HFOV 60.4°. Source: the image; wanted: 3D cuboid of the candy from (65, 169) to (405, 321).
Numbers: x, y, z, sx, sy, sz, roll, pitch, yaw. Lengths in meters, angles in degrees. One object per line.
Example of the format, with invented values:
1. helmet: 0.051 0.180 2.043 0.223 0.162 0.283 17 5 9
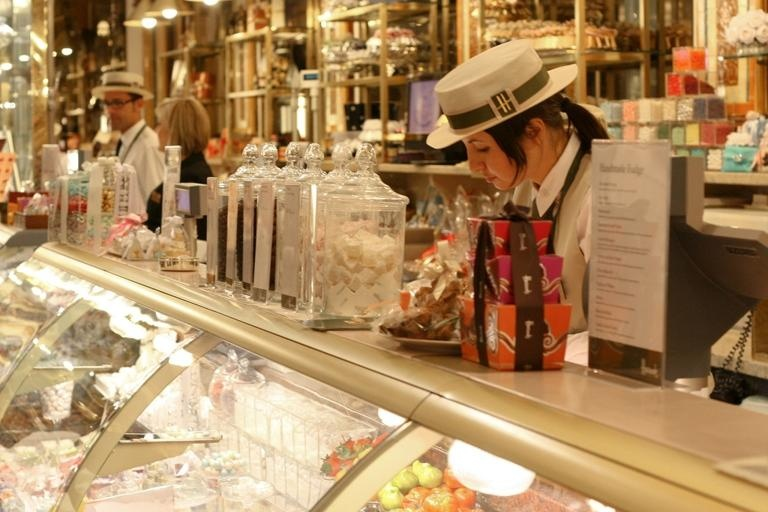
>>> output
1. candy: -0.204 -0.032 1.722 0.458 0.437 0.289 1 4 3

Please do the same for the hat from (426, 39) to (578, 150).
1. hat: 0.343 -0.371 1.793 0.348 0.098 0.326 -27 21 10

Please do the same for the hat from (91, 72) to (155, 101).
1. hat: -2.082 -1.390 5.475 0.464 0.170 0.543 0 0 -3
